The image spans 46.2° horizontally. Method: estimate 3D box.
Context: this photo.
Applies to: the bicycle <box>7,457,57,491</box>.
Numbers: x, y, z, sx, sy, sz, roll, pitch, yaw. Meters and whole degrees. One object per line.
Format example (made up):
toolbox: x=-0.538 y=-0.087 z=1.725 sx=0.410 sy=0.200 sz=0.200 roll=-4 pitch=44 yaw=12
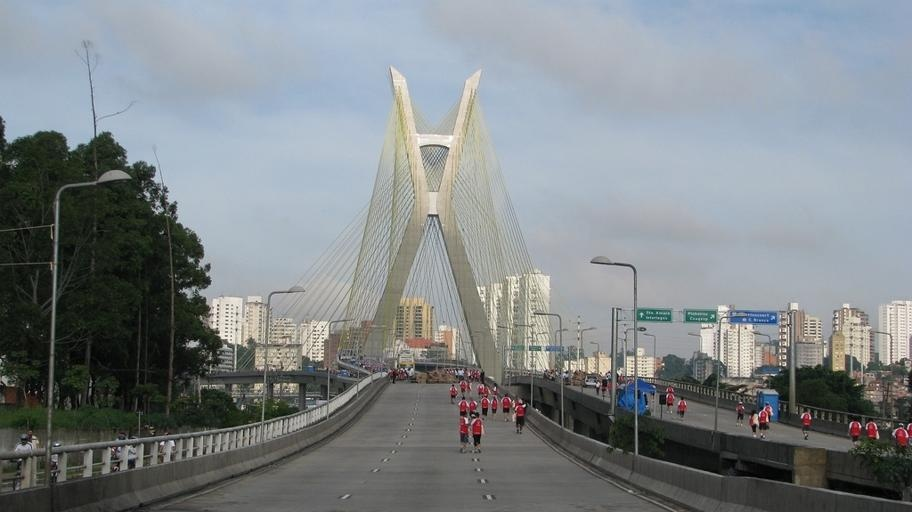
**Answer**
bicycle: x=-23.924 y=12.278 z=60.213 sx=0.882 sy=1.476 sz=3.799 roll=0 pitch=-9 yaw=15
